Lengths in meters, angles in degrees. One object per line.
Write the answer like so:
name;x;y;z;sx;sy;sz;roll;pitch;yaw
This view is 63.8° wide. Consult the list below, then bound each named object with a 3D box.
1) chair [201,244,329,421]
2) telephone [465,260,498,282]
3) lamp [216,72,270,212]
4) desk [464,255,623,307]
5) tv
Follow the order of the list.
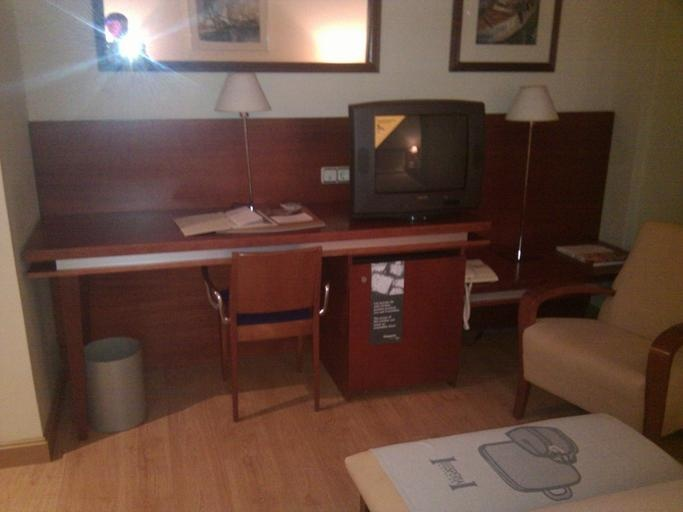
chair;-0.330;0.368;2.649;0.579;0.802;0.550;-1;-6;-20
telephone;0.834;0.065;3.325;0.150;0.051;0.164;2;23;1
lamp;-0.554;-0.654;3.136;0.294;0.753;0.391;-2;19;-9
desk;1.423;0.180;4.117;0.680;0.377;1.575;-16;-2;7
tv;0.340;-0.516;3.346;0.972;0.901;0.601;-4;19;-9
